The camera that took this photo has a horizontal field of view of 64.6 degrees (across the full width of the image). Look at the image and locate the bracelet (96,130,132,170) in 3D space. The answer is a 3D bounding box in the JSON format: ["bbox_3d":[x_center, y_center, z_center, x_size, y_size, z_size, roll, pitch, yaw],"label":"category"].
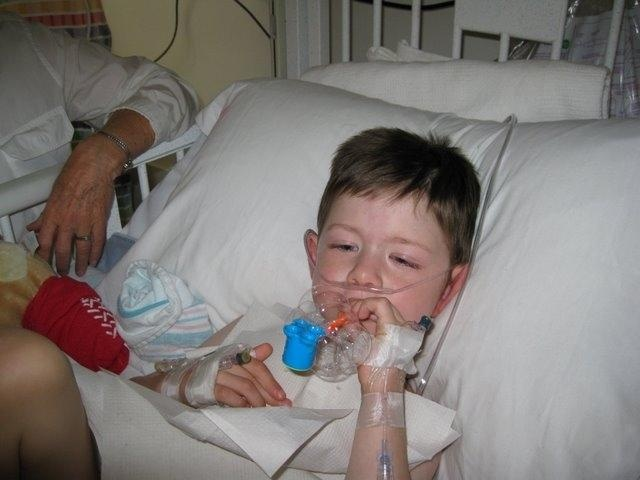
[{"bbox_3d":[-0.707,-0.339,1.790,0.040,0.134,0.133,-32,71,-23],"label":"bracelet"}]
